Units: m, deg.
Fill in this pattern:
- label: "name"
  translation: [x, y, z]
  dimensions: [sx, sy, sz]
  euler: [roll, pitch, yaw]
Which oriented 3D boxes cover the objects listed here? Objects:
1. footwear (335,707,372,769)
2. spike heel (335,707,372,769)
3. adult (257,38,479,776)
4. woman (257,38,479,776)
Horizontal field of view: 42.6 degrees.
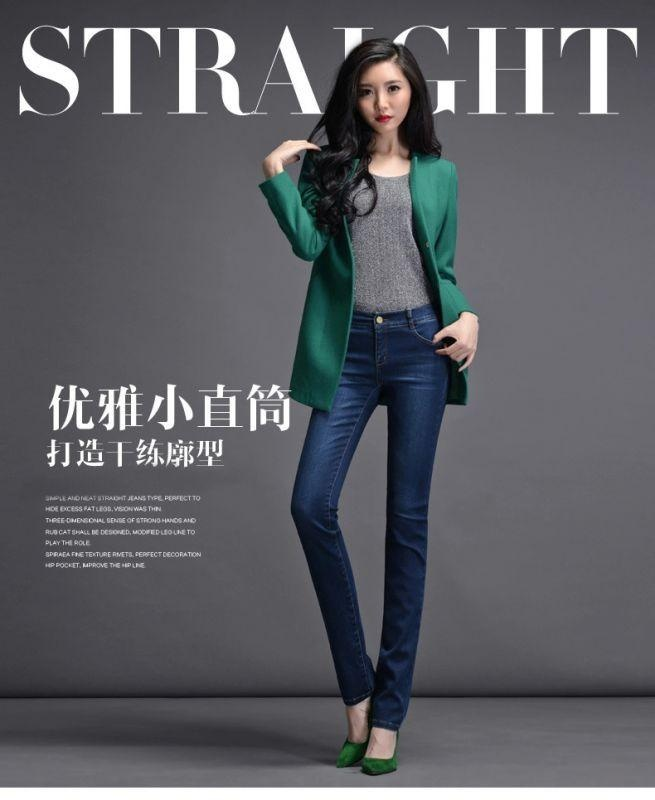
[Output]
- label: "footwear"
  translation: [0.063, 0.797, 1.968]
  dimensions: [0.056, 0.049, 0.164]
  euler: [-7, 16, 20]
- label: "spike heel"
  translation: [0.063, 0.801, 1.965]
  dimensions: [0.056, 0.048, 0.164]
  euler: [-8, 13, 22]
- label: "adult"
  translation: [0.087, 0.025, 1.900]
  dimensions: [0.505, 1.390, 0.230]
  euler: [1, 0, -6]
- label: "woman"
  translation: [0.087, 0.025, 1.900]
  dimensions: [0.505, 1.390, 0.230]
  euler: [1, 0, -6]
